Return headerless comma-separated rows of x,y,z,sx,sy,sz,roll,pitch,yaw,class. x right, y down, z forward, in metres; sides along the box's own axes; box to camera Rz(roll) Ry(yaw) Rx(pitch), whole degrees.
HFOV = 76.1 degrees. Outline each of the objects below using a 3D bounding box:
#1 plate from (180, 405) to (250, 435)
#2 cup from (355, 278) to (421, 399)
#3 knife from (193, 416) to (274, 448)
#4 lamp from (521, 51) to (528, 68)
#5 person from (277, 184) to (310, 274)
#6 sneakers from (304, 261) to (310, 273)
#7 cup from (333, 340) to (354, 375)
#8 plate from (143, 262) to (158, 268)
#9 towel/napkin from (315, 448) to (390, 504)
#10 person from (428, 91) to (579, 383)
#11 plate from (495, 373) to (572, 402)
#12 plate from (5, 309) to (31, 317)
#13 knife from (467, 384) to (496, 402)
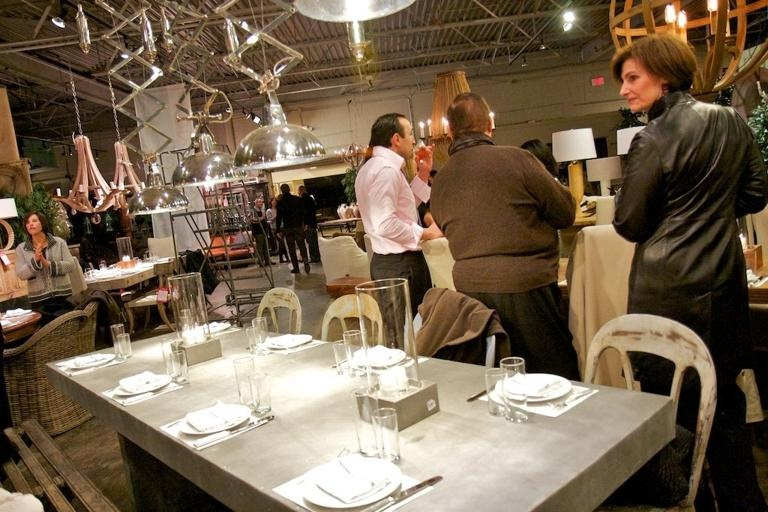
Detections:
-0.665,0.669,2.008,0.142,0.026,0.146,-4,7,-40,plate
-0.003,0.250,1.906,0.201,0.375,0.203,-4,29,2,cup
-0.559,0.684,1.978,0.089,0.033,0.393,7,12,44,knife
4.344,-6.095,15.292,0.253,0.405,0.397,-1,-1,3,lamp
-2.086,-0.644,11.469,0.621,2.197,0.667,-1,9,43,person
-1.710,0.271,11.109,0.106,0.277,0.105,-2,21,-13,sneakers
-0.202,0.510,2.482,0.128,0.205,0.138,-3,3,0,cup
-3.959,0.159,8.360,0.201,0.051,0.217,0,2,-13,plate
-0.095,0.690,1.544,0.125,0.027,0.136,11,32,34,towel/napkin
0.792,0.063,3.050,0.750,2.170,0.594,0,28,28,person
0.598,0.511,1.894,0.165,0.024,0.169,-1,6,33,plate
-3.714,0.591,4.990,0.159,0.054,0.142,0,3,-14,plate
0.381,0.533,1.957,0.085,0.018,0.082,-13,3,-17,knife
